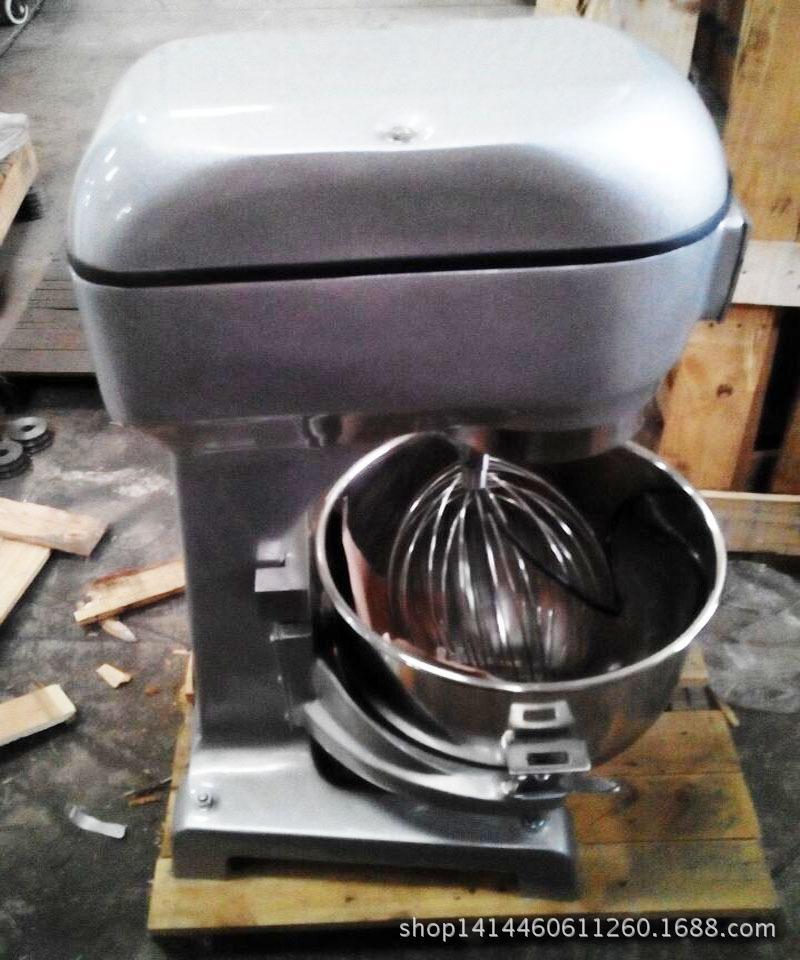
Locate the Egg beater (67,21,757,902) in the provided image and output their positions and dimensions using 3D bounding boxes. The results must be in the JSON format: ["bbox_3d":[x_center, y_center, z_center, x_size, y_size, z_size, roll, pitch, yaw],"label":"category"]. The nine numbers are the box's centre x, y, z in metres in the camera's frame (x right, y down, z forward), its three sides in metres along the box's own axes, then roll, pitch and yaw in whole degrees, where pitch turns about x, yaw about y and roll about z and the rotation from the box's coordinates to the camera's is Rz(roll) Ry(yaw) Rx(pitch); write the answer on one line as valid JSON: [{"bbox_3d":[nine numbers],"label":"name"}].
[{"bbox_3d":[0.021,0.024,0.765,0.456,0.515,0.369,-3,19,-2],"label":"Egg beater"}]
